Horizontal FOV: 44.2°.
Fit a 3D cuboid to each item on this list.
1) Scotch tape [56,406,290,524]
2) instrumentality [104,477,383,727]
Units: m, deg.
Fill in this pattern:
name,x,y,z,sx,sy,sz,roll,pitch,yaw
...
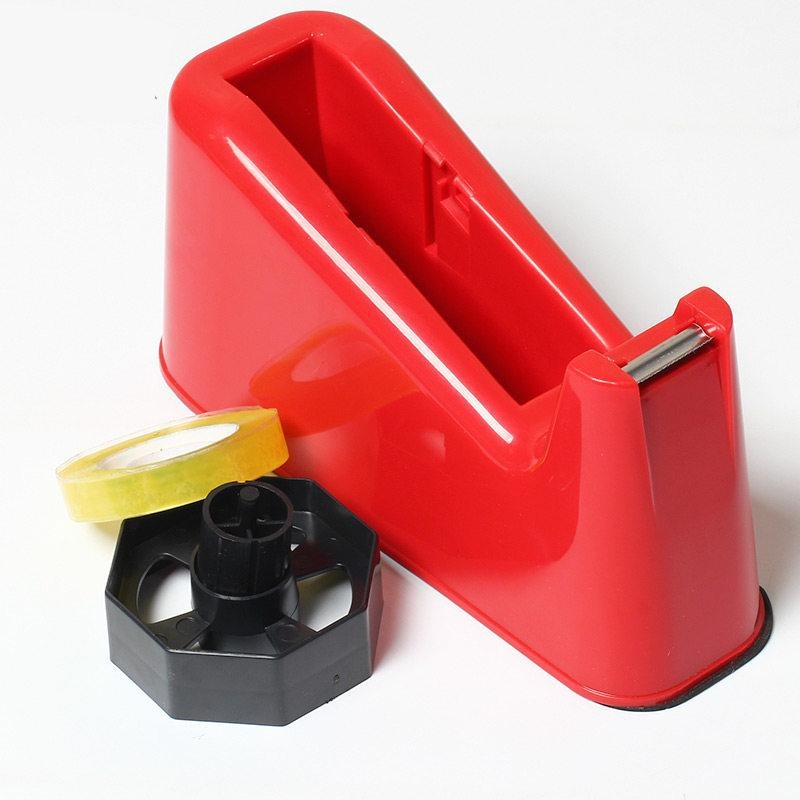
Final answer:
name,x,y,z,sx,sy,sz,roll,pitch,yaw
Scotch tape,-0.188,0.059,0.835,0.187,0.052,0.203,-13,6,28
instrumentality,-0.112,0.129,0.728,0.196,0.109,0.188,-23,42,-40
